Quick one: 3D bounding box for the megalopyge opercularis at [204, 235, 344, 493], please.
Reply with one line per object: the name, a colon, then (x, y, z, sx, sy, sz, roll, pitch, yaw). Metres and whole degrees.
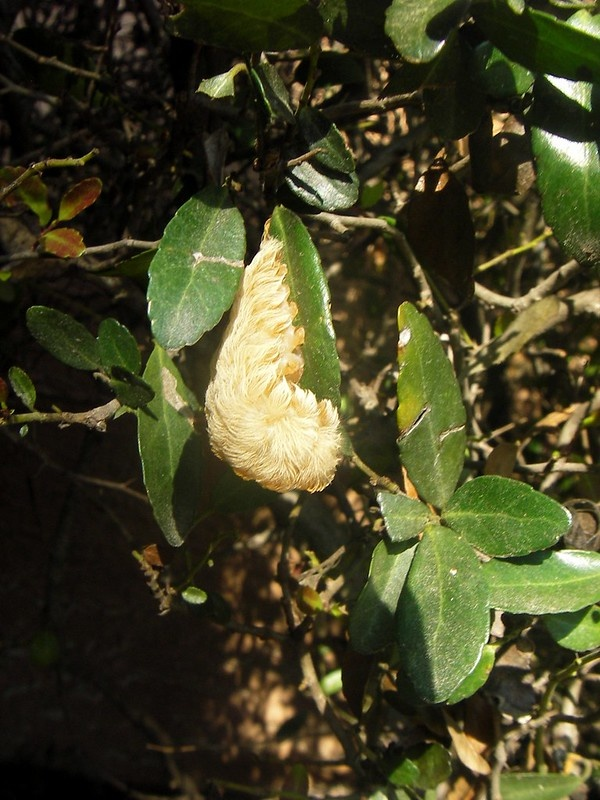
megalopyge opercularis: (0.007, -0.035, 0.748, 0.101, 0.128, 0.193, -15, 54, 29)
